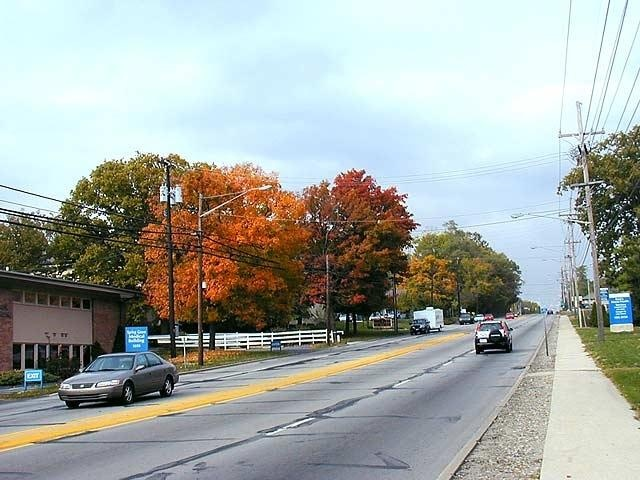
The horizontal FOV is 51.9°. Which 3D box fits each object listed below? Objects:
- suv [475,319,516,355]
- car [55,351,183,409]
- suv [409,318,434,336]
[{"bbox_3d":[10.287,5.708,39.071,1.422,1.350,2.614,-2,-1,15],"label":"suv"},{"bbox_3d":[-6.913,4.836,23.077,1.828,1.814,3.859,-9,-12,26],"label":"car"},{"bbox_3d":[11.316,9.765,74.403,2.364,1.828,2.160,-3,-11,-6],"label":"suv"}]
